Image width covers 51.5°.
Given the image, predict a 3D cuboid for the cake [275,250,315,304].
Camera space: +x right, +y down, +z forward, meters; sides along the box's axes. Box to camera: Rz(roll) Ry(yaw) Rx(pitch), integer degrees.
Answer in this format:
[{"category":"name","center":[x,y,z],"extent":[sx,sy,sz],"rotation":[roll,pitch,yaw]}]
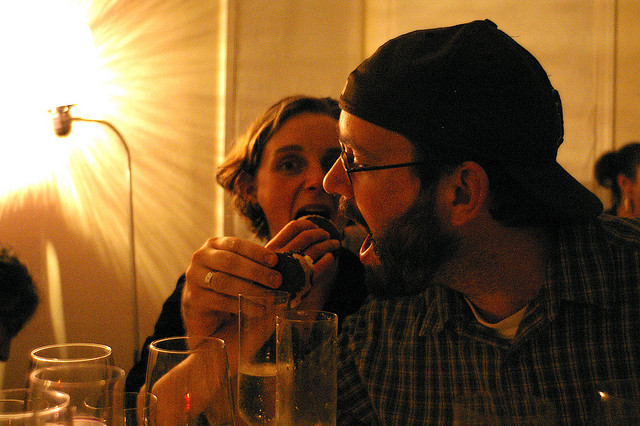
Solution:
[{"category":"cake","center":[-0.088,0.212,2.314],"extent":[0.119,0.192,0.177],"rotation":[0,-12,3]}]

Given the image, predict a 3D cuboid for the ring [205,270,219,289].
[{"category":"ring","center":[-0.372,0.233,2.317],"extent":[0.014,0.055,0.054],"rotation":[9,-9,6]}]

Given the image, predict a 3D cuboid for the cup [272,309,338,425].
[{"category":"cup","center":[-0.039,0.427,1.790],"extent":[0.161,0.289,0.084],"rotation":[-1,-12,6]}]

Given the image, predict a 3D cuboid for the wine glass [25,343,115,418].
[{"category":"wine glass","center":[-0.674,0.434,1.816],"extent":[0.196,0.203,0.198],"rotation":[1,-5,-5]}]

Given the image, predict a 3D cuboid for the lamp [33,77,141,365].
[{"category":"lamp","center":[-1.068,0.009,3.154],"extent":[0.303,1.395,0.414],"rotation":[-2,4,-13]}]
